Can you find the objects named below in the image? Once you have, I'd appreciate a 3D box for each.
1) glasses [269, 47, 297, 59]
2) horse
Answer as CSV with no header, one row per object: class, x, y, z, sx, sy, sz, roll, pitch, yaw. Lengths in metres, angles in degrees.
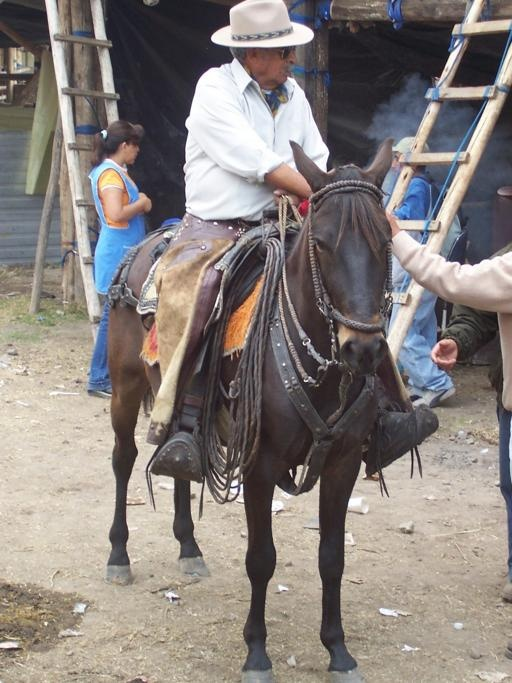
glasses,0.126,-1.225,3.786,0.069,0.021,0.053,2,2,26
horse,-0.070,0.163,4.067,1.069,2.106,2.290,-6,15,-26
